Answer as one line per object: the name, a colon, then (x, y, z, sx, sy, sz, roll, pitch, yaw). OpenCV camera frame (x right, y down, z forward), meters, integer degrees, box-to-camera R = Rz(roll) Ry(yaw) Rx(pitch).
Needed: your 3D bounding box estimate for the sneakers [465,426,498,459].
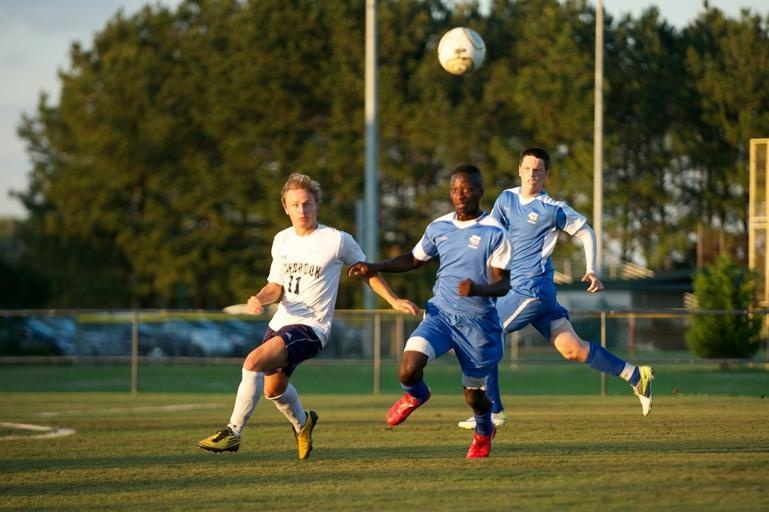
sneakers: (1.457, 2.847, 20.689, 0.242, 0.639, 0.273, 16, -1, 27)

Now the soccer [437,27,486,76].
soccer: (1.379, -3.541, 24.773, 0.841, 0.836, 0.825, -9, -35, -4)
